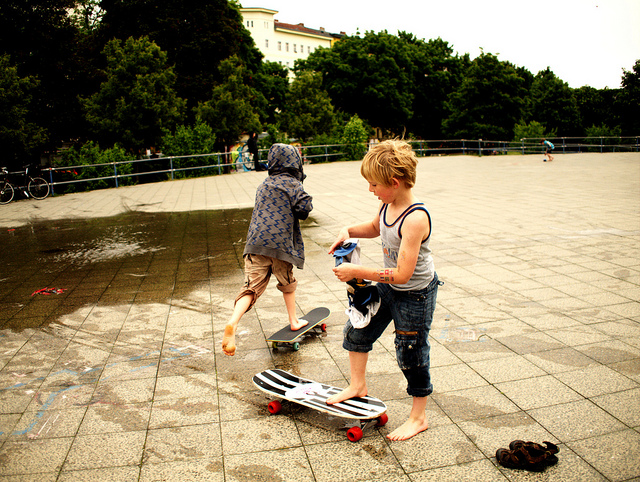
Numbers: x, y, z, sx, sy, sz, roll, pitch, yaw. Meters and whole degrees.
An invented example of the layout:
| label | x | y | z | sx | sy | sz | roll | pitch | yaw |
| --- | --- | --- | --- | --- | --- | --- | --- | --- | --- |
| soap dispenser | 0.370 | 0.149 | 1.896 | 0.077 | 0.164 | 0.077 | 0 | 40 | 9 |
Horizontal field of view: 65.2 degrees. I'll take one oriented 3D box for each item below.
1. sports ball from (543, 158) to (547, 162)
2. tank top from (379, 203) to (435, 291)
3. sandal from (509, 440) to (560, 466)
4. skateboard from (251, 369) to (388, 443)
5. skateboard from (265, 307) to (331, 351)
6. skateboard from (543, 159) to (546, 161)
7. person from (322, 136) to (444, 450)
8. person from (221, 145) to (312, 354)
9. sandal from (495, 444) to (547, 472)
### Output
| label | x | y | z | sx | sy | sz | roll | pitch | yaw |
| --- | --- | --- | --- | --- | --- | --- | --- | --- | --- |
| sports ball | 10.605 | -3.823 | 23.667 | 0.158 | 0.183 | 0.504 | -2 | 5 | 26 |
| tank top | 0.667 | 0.027 | 3.824 | 0.386 | 0.666 | 0.394 | -3 | 15 | -9 |
| sandal | 1.598 | 1.508 | 3.686 | 0.194 | 0.078 | 0.253 | 1 | 5 | -38 |
| skateboard | -0.046 | 1.301 | 4.216 | 1.325 | 0.271 | 0.420 | 5 | 17 | 39 |
| skateboard | -0.197 | 0.933 | 5.541 | 0.262 | 0.148 | 0.959 | 6 | 19 | 31 |
| skateboard | 10.714 | -3.890 | 23.943 | 0.057 | 0.104 | 0.116 | 13 | 5 | 32 |
| person | 0.562 | 0.339 | 4.100 | 0.863 | 2.320 | 1.210 | 2 | 16 | 12 |
| person | -0.471 | 0.100 | 5.000 | 0.557 | 2.049 | 1.548 | 7 | 17 | 26 |
| sandal | 1.462 | 1.560 | 3.615 | 0.290 | 0.119 | 0.152 | 3 | 35 | 16 |
